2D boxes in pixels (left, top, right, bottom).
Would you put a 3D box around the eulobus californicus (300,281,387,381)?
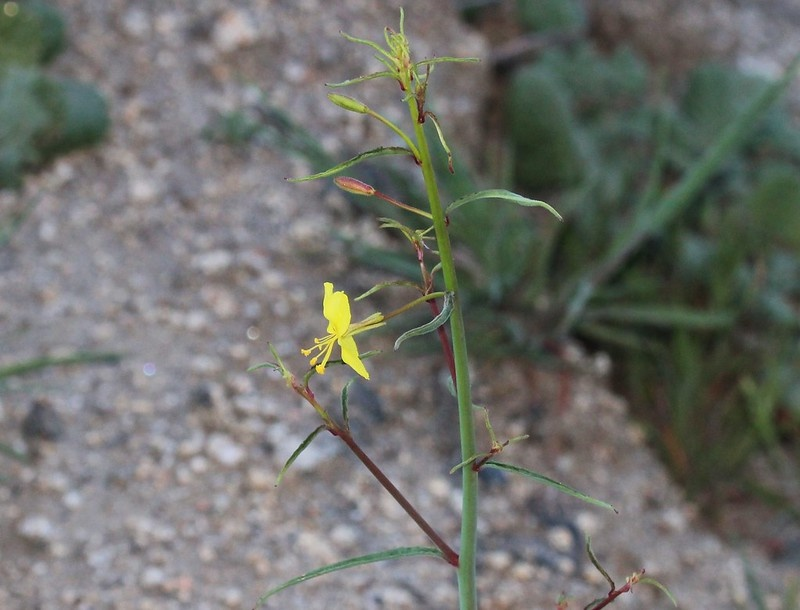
[{"bbox_3d":[-0.099,0.068,1.799,0.131,0.526,0.180,9,79,0],"label":"eulobus californicus"}]
